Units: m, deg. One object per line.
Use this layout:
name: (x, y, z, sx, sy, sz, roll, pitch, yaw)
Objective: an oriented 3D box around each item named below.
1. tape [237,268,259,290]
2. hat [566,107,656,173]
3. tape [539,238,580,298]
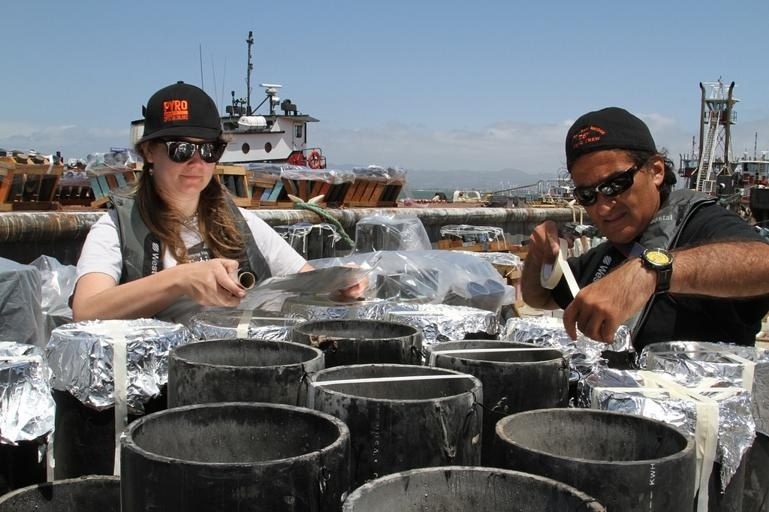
tape: (-0.567, 0.106, 2.793, 0.091, 0.086, 0.133, 16, -2, -27)
hat: (1.105, -0.574, 3.194, 0.443, 0.299, 0.425, 8, -10, -17)
tape: (0.727, 0.067, 2.713, 0.143, 0.313, 0.188, -1, -1, 2)
